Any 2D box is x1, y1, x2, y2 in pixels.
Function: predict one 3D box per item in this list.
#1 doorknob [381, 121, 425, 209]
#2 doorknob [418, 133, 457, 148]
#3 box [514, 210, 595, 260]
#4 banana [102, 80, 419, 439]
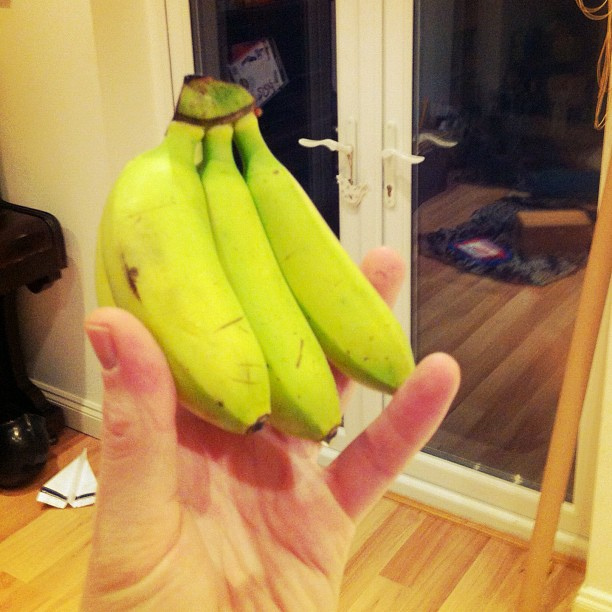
[{"bbox_3d":[0.233,-0.330,1.491,0.052,0.221,0.124,-18,25,-35],"label":"doorknob"},{"bbox_3d":[0.302,-0.389,1.456,0.095,0.030,0.028,30,37,30],"label":"doorknob"},{"bbox_3d":[0.543,-0.168,1.378,0.201,0.090,0.101,1,16,4],"label":"box"},{"bbox_3d":[-0.083,-0.030,0.537,0.127,0.311,0.234,-23,-12,19],"label":"banana"}]
